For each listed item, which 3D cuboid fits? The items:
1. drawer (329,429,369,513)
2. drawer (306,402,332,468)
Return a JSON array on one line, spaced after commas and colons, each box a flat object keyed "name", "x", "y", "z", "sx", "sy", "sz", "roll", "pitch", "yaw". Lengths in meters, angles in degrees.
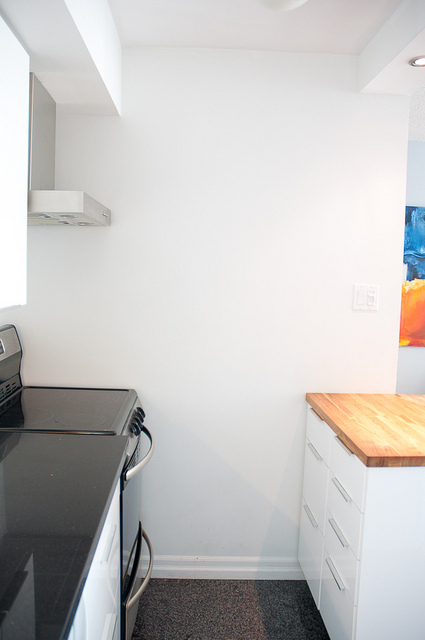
[{"name": "drawer", "x": 0.427, "y": 0.470, "z": 1.394, "sx": 0.090, "sy": 0.161, "sz": 0.195, "roll": 1, "pitch": 8, "yaw": -4}, {"name": "drawer", "x": 0.394, "y": 0.457, "z": 1.712, "sx": 0.086, "sy": 0.085, "sz": 0.148, "roll": 3, "pitch": 21, "yaw": -11}]
